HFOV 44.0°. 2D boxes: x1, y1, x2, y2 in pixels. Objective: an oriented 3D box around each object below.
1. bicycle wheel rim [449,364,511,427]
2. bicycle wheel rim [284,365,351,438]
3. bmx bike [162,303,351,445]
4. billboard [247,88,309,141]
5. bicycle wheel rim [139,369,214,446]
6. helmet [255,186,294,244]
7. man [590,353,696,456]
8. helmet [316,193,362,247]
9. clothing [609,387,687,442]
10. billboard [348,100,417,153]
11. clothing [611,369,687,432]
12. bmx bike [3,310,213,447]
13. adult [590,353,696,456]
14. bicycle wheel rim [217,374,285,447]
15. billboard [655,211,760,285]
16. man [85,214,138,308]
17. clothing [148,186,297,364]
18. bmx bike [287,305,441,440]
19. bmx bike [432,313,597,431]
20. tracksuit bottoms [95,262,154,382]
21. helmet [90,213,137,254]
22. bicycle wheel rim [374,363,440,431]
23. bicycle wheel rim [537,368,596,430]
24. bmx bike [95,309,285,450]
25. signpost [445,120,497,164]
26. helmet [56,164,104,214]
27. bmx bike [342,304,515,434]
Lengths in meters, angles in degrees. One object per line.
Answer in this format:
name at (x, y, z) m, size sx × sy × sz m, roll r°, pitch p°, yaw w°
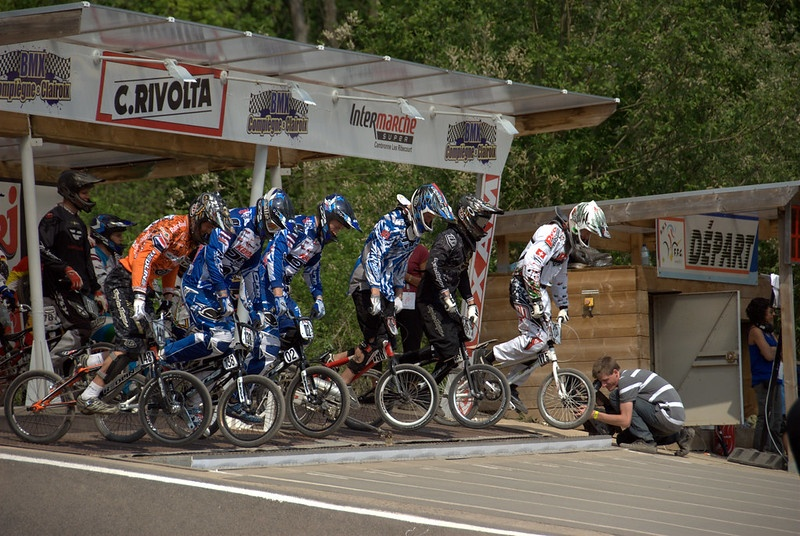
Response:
bicycle wheel rim at (1.105, 1.767, 13.911) m, size 0.713 × 0.746 × 0.147 m, roll 26°, pitch 4°, yaw 11°
bicycle wheel rim at (-1.057, 1.680, 12.623) m, size 0.908 × 1.018 × 0.257 m, roll -3°, pitch 5°, yaw 7°
bmx bike at (-1.769, 1.347, 12.500) m, size 2.271 × 1.452 × 1.098 m, roll 0°, pitch -12°, yaw -3°
billboard at (-1.879, -2.458, 15.347) m, size 1.243 × 0.927 × 0.023 m, roll -5°, pitch 10°, yaw -40°
bicycle wheel rim at (-2.775, 1.683, 12.302) m, size 0.852 × 0.902 × 0.178 m, roll -7°, pitch 0°, yaw 2°
helmet at (-1.585, -0.661, 12.852) m, size 0.576 × 0.551 × 0.460 m, roll 6°, pitch -10°, yaw 46°
man at (3.503, 2.009, 14.654) m, size 1.490 × 1.411 × 1.097 m, roll -1°, pitch -3°, yaw -9°
helmet at (-0.791, -0.694, 13.153) m, size 0.616 × 0.510 × 0.472 m, roll 5°, pitch 6°, yaw 31°
clothing at (3.544, 2.213, 14.700) m, size 1.333 × 0.944 × 0.987 m, roll -2°, pitch -11°, yaw 18°
billboard at (-0.248, -2.307, 16.336) m, size 1.669 × 0.998 × 0.038 m, roll 3°, pitch -5°, yaw -39°
clothing at (3.623, 1.865, 14.549) m, size 1.013 × 0.812 × 0.804 m, roll 1°, pitch -6°, yaw 20°
bmx bike at (-3.516, 1.476, 13.052) m, size 2.753 × 1.787 × 1.388 m, roll -2°, pitch -5°, yaw 9°
adult at (3.505, 2.028, 14.674) m, size 1.548 × 1.414 × 1.126 m, roll 0°, pitch -5°, yaw -13°
bicycle wheel rim at (-1.873, 1.768, 12.288) m, size 0.857 × 0.921 × 0.270 m, roll 4°, pitch 5°, yaw -17°
billboard at (5.193, -0.337, 16.733) m, size 2.289 × 1.204 × 0.203 m, roll -1°, pitch 8°, yaw -28°
man at (-4.532, -0.339, 15.236) m, size 0.629 × 0.810 × 0.523 m, roll -3°, pitch -31°, yaw -13°
clothing at (-2.188, 0.249, 12.780) m, size 1.604 × 2.883 × 1.094 m, roll 3°, pitch -16°, yaw 28°
bmx bike at (-0.647, 1.523, 13.456) m, size 2.166 × 1.537 × 1.125 m, roll -5°, pitch -13°, yaw 18°
bmx bike at (1.680, 1.680, 14.446) m, size 2.532 × 1.642 × 1.303 m, roll -3°, pitch -12°, yaw 9°
tracksuit bottoms at (-3.584, 0.712, 12.967) m, size 0.522 × 1.800 × 0.813 m, roll 1°, pitch -2°, yaw 38°
helmet at (-4.447, -0.558, 14.940) m, size 0.568 × 0.474 × 0.396 m, roll 16°, pitch 3°, yaw -9°
bicycle wheel rim at (0.070, 1.727, 13.428) m, size 0.675 × 0.678 × 0.123 m, roll 45°, pitch 11°, yaw 8°
bicycle wheel rim at (2.400, 1.881, 14.222) m, size 0.839 × 0.881 × 0.302 m, roll -11°, pitch -12°, yaw 17°
bmx bike at (-2.582, 1.369, 12.378) m, size 2.290 × 1.502 × 1.068 m, roll 5°, pitch -7°, yaw 5°
signpost at (1.234, -2.205, 17.091) m, size 1.203 × 0.916 × 0.016 m, roll 8°, pitch 9°, yaw 41°
helmet at (-4.680, -1.103, 14.608) m, size 0.617 × 0.601 × 0.497 m, roll 6°, pitch -11°, yaw 11°
bmx bike at (0.462, 1.610, 14.001) m, size 2.308 × 1.577 × 1.153 m, roll -3°, pitch -7°, yaw -6°
